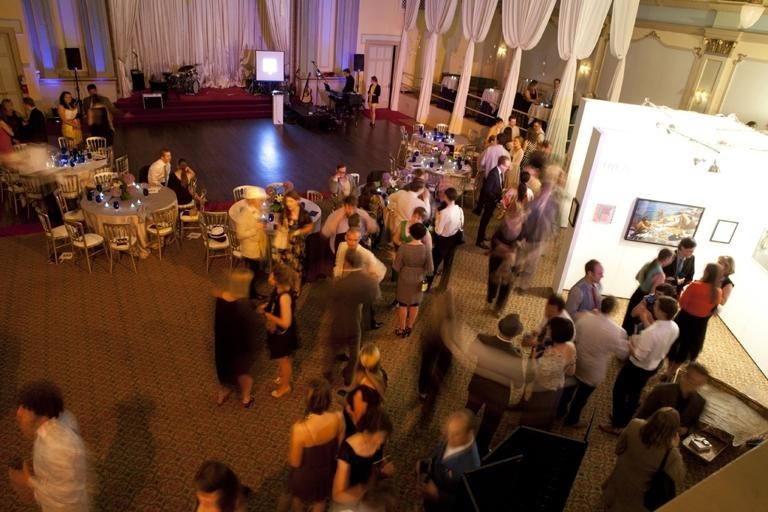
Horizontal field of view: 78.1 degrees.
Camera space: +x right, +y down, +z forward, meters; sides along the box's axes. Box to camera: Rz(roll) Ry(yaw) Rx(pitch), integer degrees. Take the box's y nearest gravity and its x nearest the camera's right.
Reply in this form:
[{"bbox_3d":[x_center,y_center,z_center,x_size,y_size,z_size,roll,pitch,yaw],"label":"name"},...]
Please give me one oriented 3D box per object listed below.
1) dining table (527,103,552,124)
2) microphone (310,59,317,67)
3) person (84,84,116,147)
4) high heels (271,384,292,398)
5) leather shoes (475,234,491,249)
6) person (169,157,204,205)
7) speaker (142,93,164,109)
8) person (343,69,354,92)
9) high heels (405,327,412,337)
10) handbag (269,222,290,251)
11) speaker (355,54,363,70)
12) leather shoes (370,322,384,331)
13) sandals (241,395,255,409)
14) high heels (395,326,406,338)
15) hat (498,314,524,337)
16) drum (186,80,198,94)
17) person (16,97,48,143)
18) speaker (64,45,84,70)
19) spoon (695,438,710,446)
[{"bbox_3d":[4.690,-4.345,14.262,0.696,0.551,0.713,1,27,1],"label":"dining table"},{"bbox_3d":[-2.531,-6.944,16.910,0.267,0.177,0.050,14,25,21],"label":"microphone"},{"bbox_3d":[-6.724,-3.268,11.153,0.617,1.552,1.994,-10,27,-28],"label":"person"},{"bbox_3d":[-1.320,1.726,6.121,0.259,0.111,0.144,-11,22,-37],"label":"high heels"},{"bbox_3d":[1.933,-0.282,9.435,0.138,0.189,0.457,-21,23,-28],"label":"leather shoes"},{"bbox_3d":[-3.753,-1.437,9.017,0.519,0.968,0.403,-2,52,-29],"label":"person"},{"bbox_3d":[-7.163,-4.816,14.633,0.605,0.432,0.340,-10,27,-27],"label":"speaker"},{"bbox_3d":[-1.219,-6.164,16.491,0.415,0.719,1.483,1,24,-5],"label":"person"},{"bbox_3d":[0.360,1.132,7.048,0.125,0.168,0.384,0,4,2],"label":"high heels"},{"bbox_3d":[-1.570,-0.296,7.119,0.375,0.516,0.284,-3,12,-22],"label":"handbag"},{"bbox_3d":[-0.852,-6.951,16.863,0.248,0.524,0.557,18,28,30],"label":"speaker"},{"bbox_3d":[-0.110,1.053,7.149,0.080,0.107,0.246,9,20,25],"label":"leather shoes"},{"bbox_3d":[-1.717,1.857,5.984,0.098,0.159,0.162,11,33,-1],"label":"sandals"},{"bbox_3d":[0.251,1.121,7.050,0.113,0.192,0.182,-8,21,-44],"label":"high heels"},{"bbox_3d":[1.349,0.718,5.168,0.197,0.291,0.288,15,-15,18],"label":"hat"},{"bbox_3d":[-6.683,-5.973,16.605,0.234,0.432,0.652,1,24,-5],"label":"drum"},{"bbox_3d":[-7.874,-3.080,10.483,0.483,0.940,1.921,-14,29,-34],"label":"person"},{"bbox_3d":[-8.720,-5.549,13.294,0.341,0.595,0.560,-14,29,-34],"label":"speaker"},{"bbox_3d":[3.870,2.275,5.750,0.098,0.031,0.104,-1,21,-5],"label":"spoon"}]
